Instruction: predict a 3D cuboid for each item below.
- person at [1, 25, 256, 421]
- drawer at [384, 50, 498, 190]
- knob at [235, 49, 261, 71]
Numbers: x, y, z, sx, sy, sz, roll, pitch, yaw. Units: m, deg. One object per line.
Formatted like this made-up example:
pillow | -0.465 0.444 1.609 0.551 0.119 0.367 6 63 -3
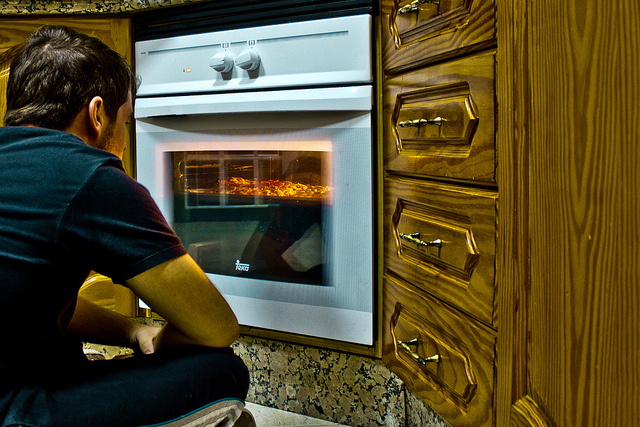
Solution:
person | -0.496 0.030 0.981 0.588 0.828 0.397 4 4 29
drawer | 0.331 -0.220 1.063 0.231 0.242 0.389 -8 12 -25
knob | -0.203 -0.434 1.295 0.062 0.061 0.057 5 10 27
